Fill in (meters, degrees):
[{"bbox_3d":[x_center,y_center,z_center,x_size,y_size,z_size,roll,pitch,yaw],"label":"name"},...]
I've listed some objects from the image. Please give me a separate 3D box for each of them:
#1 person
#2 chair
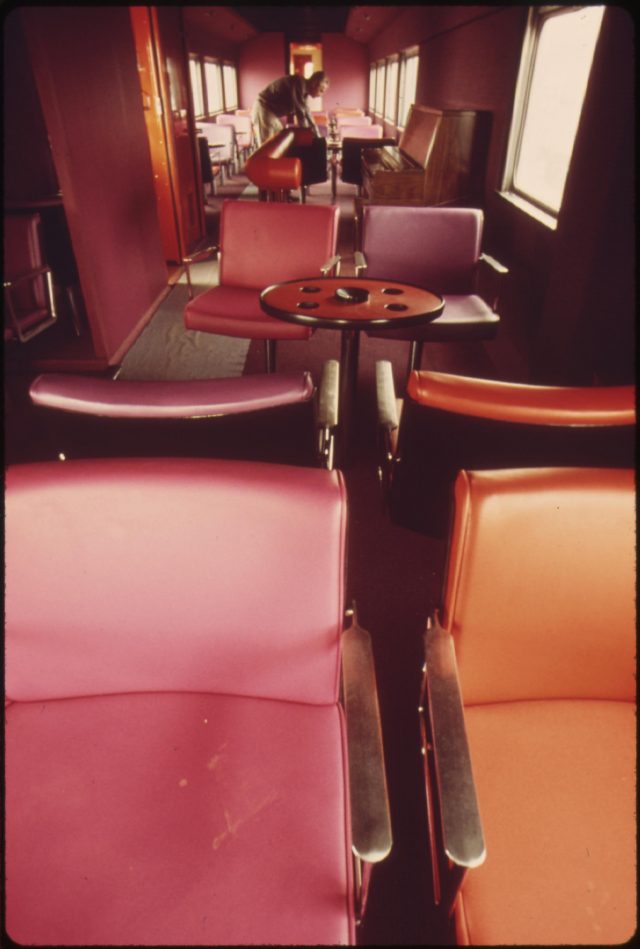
[{"bbox_3d":[-0.388,-4.248,7.878,0.732,1.814,0.512,9,-12,18],"label":"person"},{"bbox_3d":[-0.080,0.257,1.198,0.666,1.278,0.913,-2,34,-2],"label":"chair"}]
